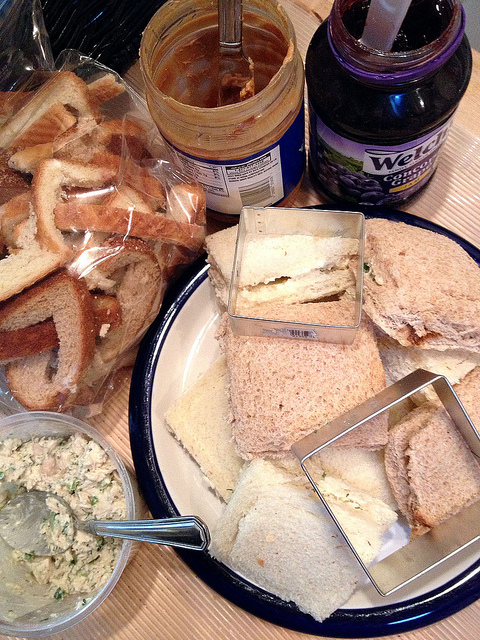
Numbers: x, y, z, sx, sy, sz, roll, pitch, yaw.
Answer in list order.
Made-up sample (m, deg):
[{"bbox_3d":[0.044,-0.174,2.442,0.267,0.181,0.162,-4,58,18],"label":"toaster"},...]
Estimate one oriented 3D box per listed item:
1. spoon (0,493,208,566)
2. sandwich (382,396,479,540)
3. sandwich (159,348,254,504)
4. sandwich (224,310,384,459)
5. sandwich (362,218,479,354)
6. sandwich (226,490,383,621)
[{"bbox_3d":[-0.193,0.300,0.832,0.384,0.052,0.109,3,84,10],"label":"spoon"},{"bbox_3d":[0.253,0.201,0.760,0.146,0.067,0.137,-32,72,-8],"label":"sandwich"},{"bbox_3d":[-0.034,0.167,0.922,0.046,0.171,0.188,10,21,-10],"label":"sandwich"},{"bbox_3d":[0.088,0.089,0.781,0.223,0.089,0.202,-3,70,3],"label":"sandwich"},{"bbox_3d":[0.256,-0.061,0.783,0.166,0.070,0.200,6,71,6],"label":"sandwich"},{"bbox_3d":[0.111,0.308,0.815,0.065,0.244,0.241,49,52,-15],"label":"sandwich"}]
